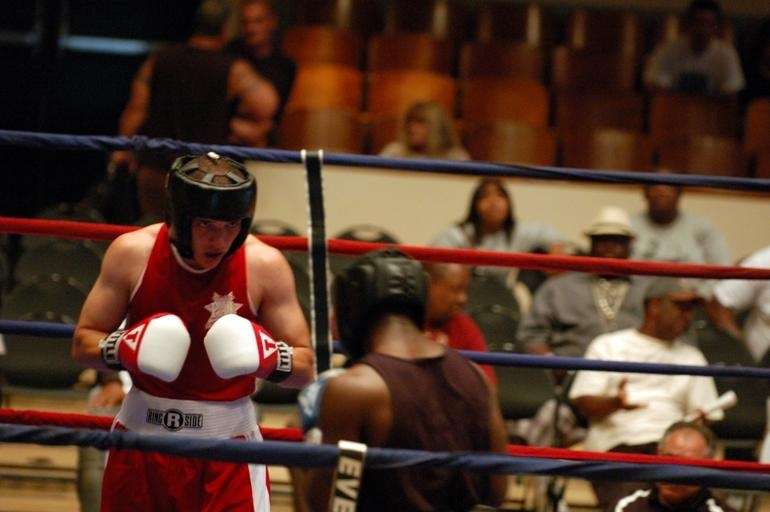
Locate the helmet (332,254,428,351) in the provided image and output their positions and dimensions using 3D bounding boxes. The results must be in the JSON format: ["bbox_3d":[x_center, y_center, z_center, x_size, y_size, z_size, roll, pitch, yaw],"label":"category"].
[{"bbox_3d":[-0.048,0.187,4.507,0.461,0.375,0.353,-2,-8,-29],"label":"helmet"}]

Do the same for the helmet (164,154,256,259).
[{"bbox_3d":[-0.811,-0.237,4.756,0.434,0.462,0.479,-1,6,-30],"label":"helmet"}]

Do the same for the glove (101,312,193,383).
[{"bbox_3d":[-1.046,0.396,4.691,0.385,0.273,0.171,20,-28,16],"label":"glove"}]
